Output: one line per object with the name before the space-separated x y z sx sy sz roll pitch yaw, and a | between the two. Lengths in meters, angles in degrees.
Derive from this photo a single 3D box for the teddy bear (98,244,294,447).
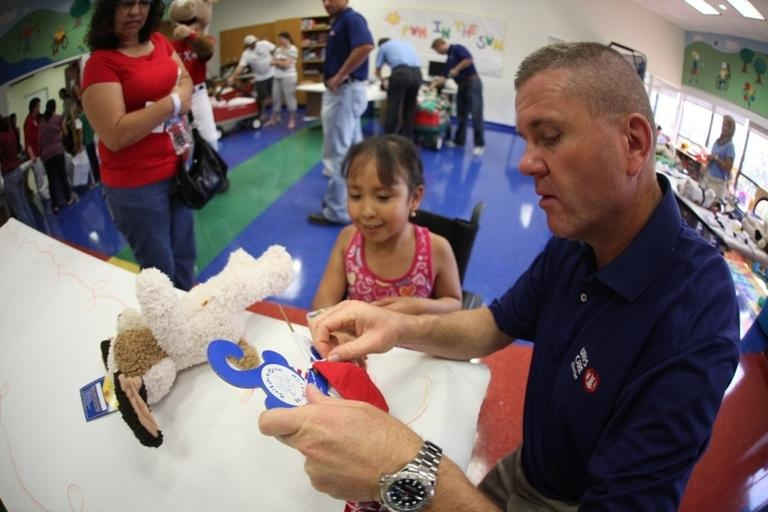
teddy bear | -0.581 0.255 1.695 0.624 0.262 0.437 -34 64 -18

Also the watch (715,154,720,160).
watch | 1.281 -0.376 1.897 0.013 0.019 0.005 -7 -10 -40

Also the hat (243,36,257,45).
hat | -0.700 -1.127 2.591 0.064 0.051 0.040 -8 31 -16
